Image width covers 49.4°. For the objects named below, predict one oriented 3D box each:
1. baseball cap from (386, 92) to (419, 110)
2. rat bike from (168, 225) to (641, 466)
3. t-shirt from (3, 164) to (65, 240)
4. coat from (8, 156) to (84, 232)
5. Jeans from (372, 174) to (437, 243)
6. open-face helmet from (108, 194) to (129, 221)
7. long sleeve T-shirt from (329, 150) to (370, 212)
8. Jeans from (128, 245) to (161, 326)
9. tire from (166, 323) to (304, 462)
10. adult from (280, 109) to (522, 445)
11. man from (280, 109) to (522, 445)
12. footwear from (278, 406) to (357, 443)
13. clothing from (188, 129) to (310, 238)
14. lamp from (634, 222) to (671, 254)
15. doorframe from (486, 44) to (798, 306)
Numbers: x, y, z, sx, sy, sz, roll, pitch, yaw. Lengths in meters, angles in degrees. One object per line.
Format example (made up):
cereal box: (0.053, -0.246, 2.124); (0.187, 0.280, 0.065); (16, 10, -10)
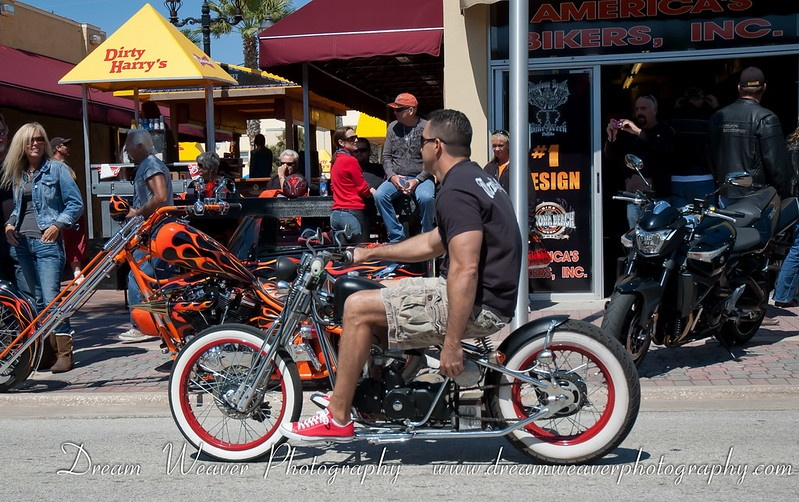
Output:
baseball cap: (0.050, -2.240, 13.193); (0.431, 0.251, 0.308); (-3, 4, -11)
rat bike: (-0.009, 0.998, 8.614); (4.611, 2.335, 1.890); (-1, 7, 3)
t-shirt: (-4.847, -0.647, 11.642); (0.797, 1.090, 0.313); (-2, 0, 22)
coat: (-4.701, -0.715, 11.454); (1.058, 1.084, 0.569); (-2, -1, 8)
Jeans: (0.066, -0.628, 13.502); (1.061, 1.400, 0.929); (0, -5, 3)
open-face helmet: (-3.340, -0.499, 10.306); (0.234, 0.312, 0.309); (0, -10, 17)
long sleeve T-shirt: (-0.737, -0.993, 12.991); (0.621, 0.886, 0.584); (-5, -4, 43)
Jeans: (-2.992, 0.393, 10.244); (0.286, 1.018, 0.338); (13, 11, 42)
tire: (-1.621, 1.462, 8.764); (1.039, 1.054, 0.209); (29, -5, 8)
adult: (0.246, 0.224, 8.532); (1.861, 3.230, 0.640); (1, 1, 7)
man: (0.249, 0.224, 8.532); (1.855, 3.230, 0.640); (1, 1, 7)
footwear: (-0.761, 1.711, 8.571); (0.791, 0.365, 0.281); (5, -4, 2)
clothing: (-1.601, -0.832, 12.456); (2.151, 1.318, 1.211); (-3, 2, -17)
lamp: (2.988, -0.121, 10.372); (0.278, 0.208, 0.346); (6, 32, 42)
doorframe: (3.480, -1.094, 12.585); (4.122, 2.935, 0.312); (0, 2, 4)
